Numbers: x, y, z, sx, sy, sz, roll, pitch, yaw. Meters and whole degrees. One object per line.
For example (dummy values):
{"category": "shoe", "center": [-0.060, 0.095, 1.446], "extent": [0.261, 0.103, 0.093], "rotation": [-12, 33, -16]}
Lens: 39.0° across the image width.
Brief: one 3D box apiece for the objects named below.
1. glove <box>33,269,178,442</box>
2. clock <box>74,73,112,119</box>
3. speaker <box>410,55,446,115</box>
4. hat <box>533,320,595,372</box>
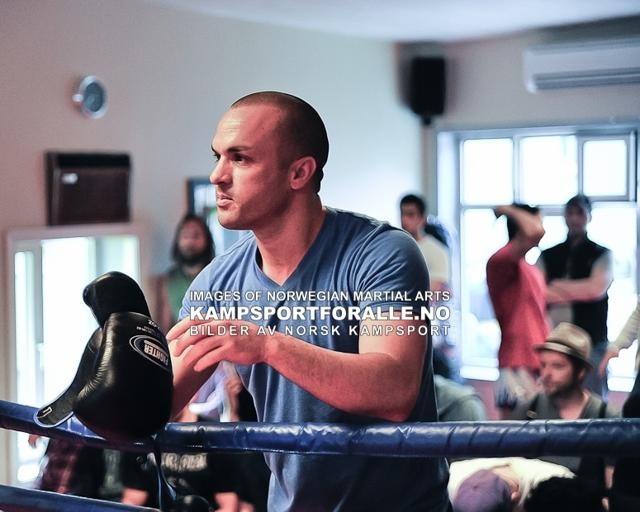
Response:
{"category": "glove", "center": [-0.533, 0.260, 2.123], "extent": [0.394, 0.401, 0.260], "rotation": [-13, -11, 8]}
{"category": "clock", "center": [-0.552, -0.385, 2.170], "extent": [0.079, 0.104, 0.015], "rotation": [-3, 4, -3]}
{"category": "speaker", "center": [0.251, -0.401, 2.109], "extent": [0.088, 0.143, 0.047], "rotation": [-2, 4, 5]}
{"category": "hat", "center": [0.567, 0.197, 2.081], "extent": [0.096, 0.056, 0.107], "rotation": [18, -14, 39]}
